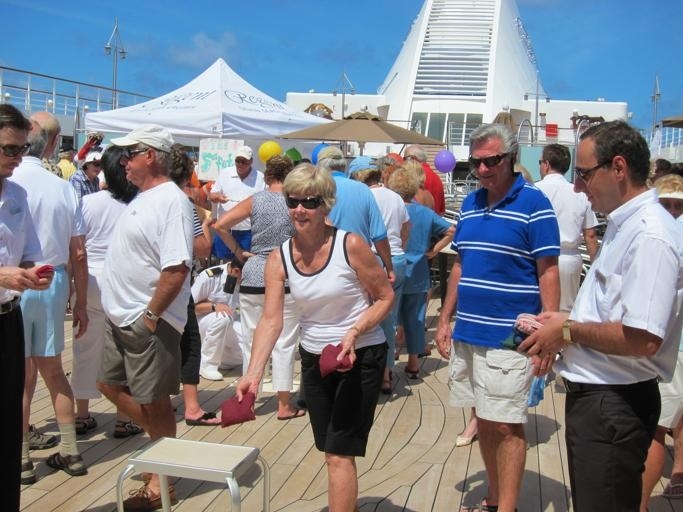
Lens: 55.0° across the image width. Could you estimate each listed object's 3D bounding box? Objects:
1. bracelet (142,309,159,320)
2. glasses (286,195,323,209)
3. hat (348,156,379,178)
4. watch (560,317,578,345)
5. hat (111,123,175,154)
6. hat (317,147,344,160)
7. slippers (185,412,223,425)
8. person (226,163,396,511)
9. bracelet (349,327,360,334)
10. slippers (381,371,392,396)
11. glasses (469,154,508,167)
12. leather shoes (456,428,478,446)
[{"bbox_3d":[-1.228,0.386,4.237,0.077,0.055,0.080,24,-9,38],"label":"bracelet"},{"bbox_3d":[-0.213,-0.297,3.734,0.215,0.077,0.096,2,5,-4],"label":"glasses"},{"bbox_3d":[0.200,-0.883,6.553,0.189,0.182,0.285,-4,8,-12],"label":"hat"},{"bbox_3d":[1.108,0.380,3.238,0.052,0.114,0.100,10,12,26],"label":"watch"},{"bbox_3d":[-1.317,-0.778,4.382,0.285,0.140,0.198,4,8,-6],"label":"hat"},{"bbox_3d":[-0.116,-0.995,6.515,0.155,0.137,0.228,0,7,-3],"label":"hat"},{"bbox_3d":[-1.208,1.418,5.698,0.237,0.070,0.127,-1,3,0],"label":"slippers"},{"bbox_3d":[-0.115,0.462,3.769,0.798,1.922,0.457,2,4,5],"label":"person"},{"bbox_3d":[0.073,0.419,3.691,0.040,0.032,0.047,20,-2,15],"label":"bracelet"},{"bbox_3d":[0.451,1.268,6.593,0.080,0.108,0.257,1,11,3],"label":"slippers"},{"bbox_3d":[0.913,-0.585,4.088,0.239,0.090,0.094,3,5,12],"label":"glasses"},{"bbox_3d":[1.016,1.490,5.396,0.086,0.048,0.179,-15,-8,36],"label":"leather shoes"}]
